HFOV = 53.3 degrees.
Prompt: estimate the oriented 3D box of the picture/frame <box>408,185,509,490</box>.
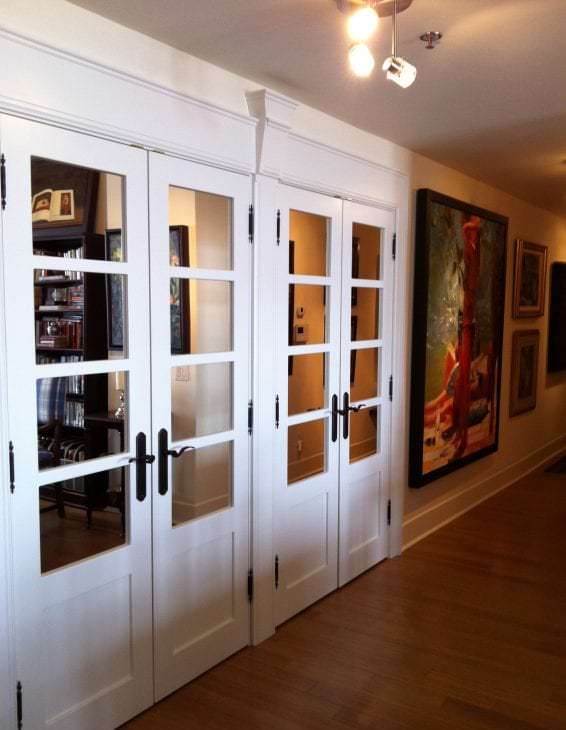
[{"bbox_3d":[1.394,-0.222,4.429,0.176,2.126,1.651,1,1,39],"label":"picture/frame"}]
